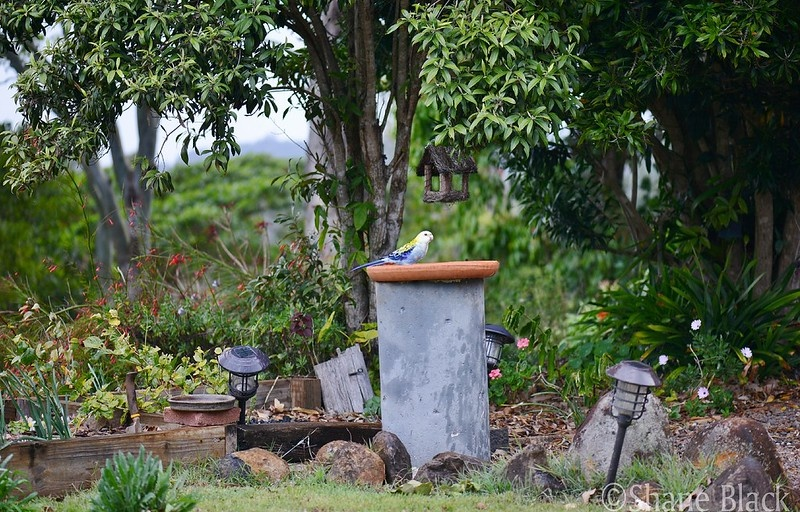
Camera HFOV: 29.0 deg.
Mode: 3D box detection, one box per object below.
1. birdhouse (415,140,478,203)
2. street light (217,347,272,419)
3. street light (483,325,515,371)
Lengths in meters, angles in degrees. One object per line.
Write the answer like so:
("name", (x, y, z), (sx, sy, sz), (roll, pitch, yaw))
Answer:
("birdhouse", (0.438, -0.738, 14.019), (0.443, 0.535, 0.507), (0, 1, 37))
("street light", (-1.365, 1.083, 13.794), (0.331, 0.742, 0.654), (3, -3, -1))
("street light", (0.929, 0.852, 14.320), (0.258, 0.488, 0.587), (-2, 5, 4))
